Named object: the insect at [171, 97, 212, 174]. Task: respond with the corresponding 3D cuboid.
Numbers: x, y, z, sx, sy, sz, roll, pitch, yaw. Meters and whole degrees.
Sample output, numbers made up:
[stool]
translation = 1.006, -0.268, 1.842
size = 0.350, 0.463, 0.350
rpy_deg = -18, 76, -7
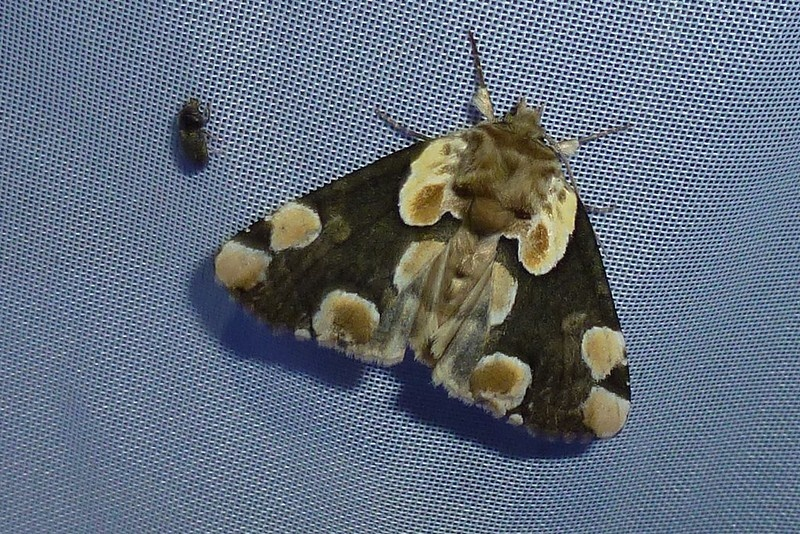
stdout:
[insect]
translation = -0.962, -0.602, 5.537
size = 0.173, 0.108, 0.341
rpy_deg = 3, 83, 1
